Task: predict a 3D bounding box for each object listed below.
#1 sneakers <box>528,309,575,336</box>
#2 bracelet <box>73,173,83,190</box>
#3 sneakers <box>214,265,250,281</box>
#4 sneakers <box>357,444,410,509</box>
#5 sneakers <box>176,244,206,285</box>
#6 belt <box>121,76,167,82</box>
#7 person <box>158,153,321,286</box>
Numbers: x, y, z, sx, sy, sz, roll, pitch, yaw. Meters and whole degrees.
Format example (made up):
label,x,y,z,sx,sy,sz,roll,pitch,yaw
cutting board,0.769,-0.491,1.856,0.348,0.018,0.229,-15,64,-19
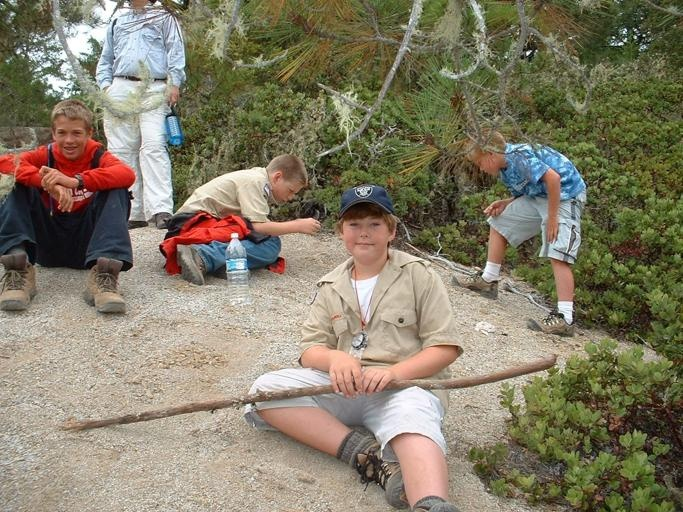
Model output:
label,x,y,z,sx,sy,sz,roll,pitch,yaw
sneakers,1.666,0.542,4.581,0.359,0.180,0.161,9,-1,14
bracelet,-1.862,-0.523,4.026,0.050,0.109,0.104,-5,19,-25
sneakers,-0.904,0.141,4.638,0.133,0.144,0.166,-2,-7,13
sneakers,0.172,1.022,2.691,0.250,0.116,0.343,0,12,-21
sneakers,-1.276,0.068,4.692,0.151,0.384,0.191,-16,-6,40
belt,-1.939,-1.737,5.535,0.480,0.051,0.236,15,20,36
person,-0.914,-0.331,4.958,1.264,0.821,1.311,-2,26,-20
